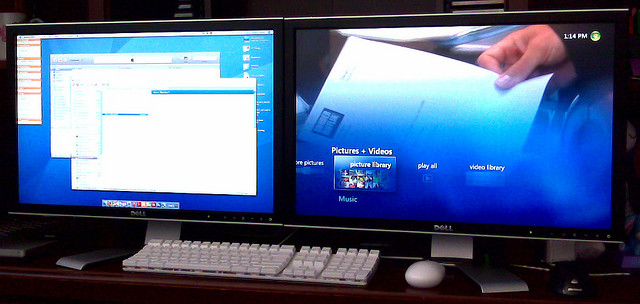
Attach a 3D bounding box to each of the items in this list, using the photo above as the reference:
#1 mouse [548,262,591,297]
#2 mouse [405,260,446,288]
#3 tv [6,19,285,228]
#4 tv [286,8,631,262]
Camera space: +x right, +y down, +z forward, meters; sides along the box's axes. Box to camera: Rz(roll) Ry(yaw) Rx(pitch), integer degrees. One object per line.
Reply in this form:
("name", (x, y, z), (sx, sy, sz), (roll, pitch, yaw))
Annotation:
("mouse", (0.943, 0.483, 1.917), (0.150, 0.097, 0.112), (9, 19, 13))
("mouse", (0.401, 0.468, 1.933), (0.101, 0.058, 0.133), (-2, 2, 44))
("tv", (-0.695, -0.143, 2.122), (1.242, 0.597, 0.035), (0, 2, 8))
("tv", (0.549, -0.090, 2.032), (1.453, 0.754, 0.320), (1, -1, 6))
